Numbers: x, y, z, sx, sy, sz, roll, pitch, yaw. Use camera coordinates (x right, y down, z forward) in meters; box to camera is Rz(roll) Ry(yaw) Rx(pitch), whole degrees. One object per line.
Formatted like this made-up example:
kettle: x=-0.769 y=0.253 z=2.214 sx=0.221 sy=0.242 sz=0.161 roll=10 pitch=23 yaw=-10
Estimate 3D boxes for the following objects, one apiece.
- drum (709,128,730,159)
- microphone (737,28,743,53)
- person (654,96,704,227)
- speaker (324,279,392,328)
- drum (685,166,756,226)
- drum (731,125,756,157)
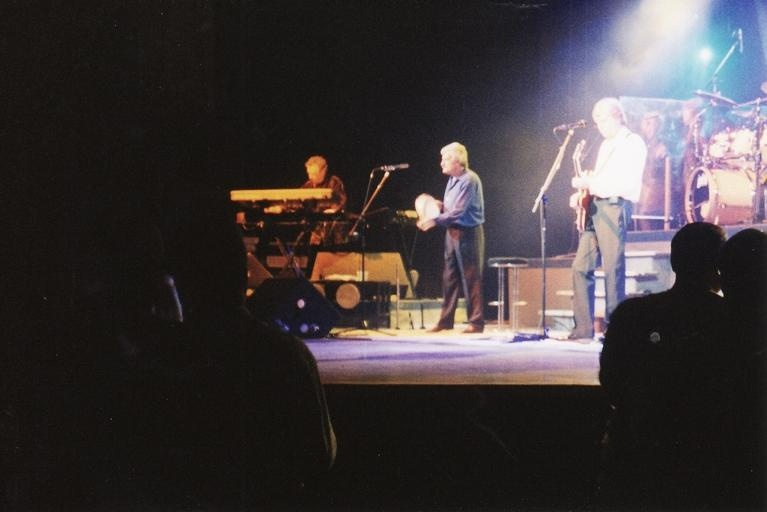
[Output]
drum: x=3.242 y=-1.082 z=8.717 sx=0.083 sy=0.238 sz=0.211 roll=-6 pitch=10 yaw=-45
microphone: x=3.331 y=-2.011 z=8.397 sx=0.038 sy=0.182 sz=0.225 roll=2 pitch=3 yaw=25
person: x=2.913 y=-0.964 z=8.759 sx=0.206 sy=0.957 sz=0.926 roll=15 pitch=15 yaw=14
speaker: x=-0.238 y=0.456 z=8.577 sx=0.487 sy=0.329 sz=0.501 roll=1 pitch=-4 yaw=8
drum: x=3.171 y=-0.561 z=8.398 sx=0.536 sy=0.544 sz=0.520 roll=3 pitch=-18 yaw=-18
drum: x=3.424 y=-1.087 z=8.585 sx=0.085 sy=0.233 sz=0.208 roll=-6 pitch=4 yaw=-31
